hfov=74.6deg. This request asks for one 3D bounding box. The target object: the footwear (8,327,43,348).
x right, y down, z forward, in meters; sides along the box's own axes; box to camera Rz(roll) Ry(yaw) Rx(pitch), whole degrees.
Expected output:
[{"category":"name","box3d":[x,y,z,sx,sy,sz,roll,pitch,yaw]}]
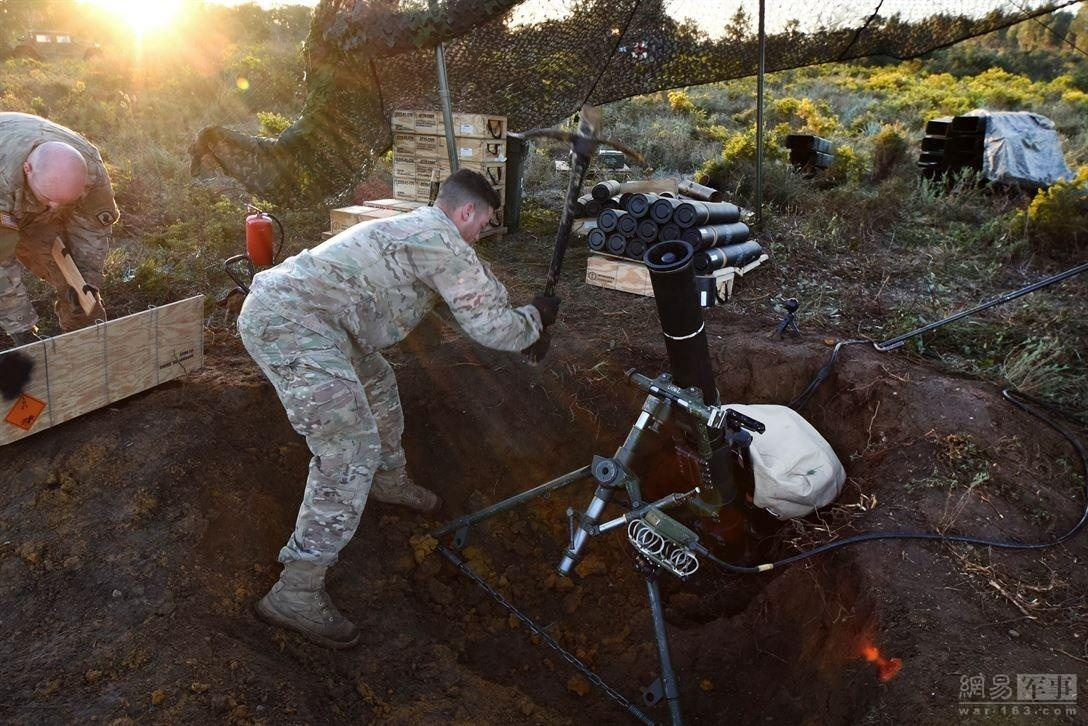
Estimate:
[{"category":"footwear","box3d":[-4.674,-0.215,6.394,0.182,0.192,0.149,-8,19,-17]}]

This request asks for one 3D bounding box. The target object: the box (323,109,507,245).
[{"category":"box","box3d":[-1.628,-2.642,9.300,1.964,1.780,1.994,15,22,40]}]

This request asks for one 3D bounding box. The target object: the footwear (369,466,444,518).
[{"category":"footwear","box3d":[-1.278,1.070,6.524,0.723,0.566,0.257,-4,39,-17]}]

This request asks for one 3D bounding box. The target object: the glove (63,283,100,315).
[{"category":"glove","box3d":[-4.425,-0.590,6.799,0.248,0.336,0.110,37,30,13]}]

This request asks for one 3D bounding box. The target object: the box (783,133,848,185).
[{"category":"box","box3d":[4.908,-3.708,12.960,1.084,0.697,1.209,4,28,-8]}]

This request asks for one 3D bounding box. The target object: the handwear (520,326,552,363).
[{"category":"handwear","box3d":[-0.028,-0.118,6.001,0.222,0.326,0.083,9,-1,27]}]
